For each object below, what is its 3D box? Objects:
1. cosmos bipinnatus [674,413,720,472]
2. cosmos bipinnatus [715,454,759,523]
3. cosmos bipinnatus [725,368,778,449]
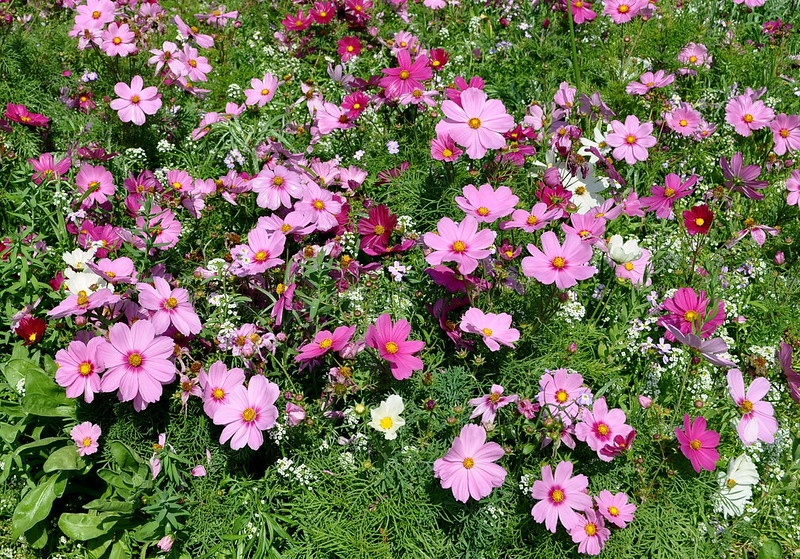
[{"bbox_3d":[1.393,0.787,3.468,0.239,0.285,0.099,-8,103,15],"label":"cosmos bipinnatus"},{"bbox_3d":[1.640,1.030,3.664,0.078,0.218,0.217,14,67,29],"label":"cosmos bipinnatus"},{"bbox_3d":[1.691,0.626,3.580,0.304,0.090,0.409,29,37,-8],"label":"cosmos bipinnatus"}]
